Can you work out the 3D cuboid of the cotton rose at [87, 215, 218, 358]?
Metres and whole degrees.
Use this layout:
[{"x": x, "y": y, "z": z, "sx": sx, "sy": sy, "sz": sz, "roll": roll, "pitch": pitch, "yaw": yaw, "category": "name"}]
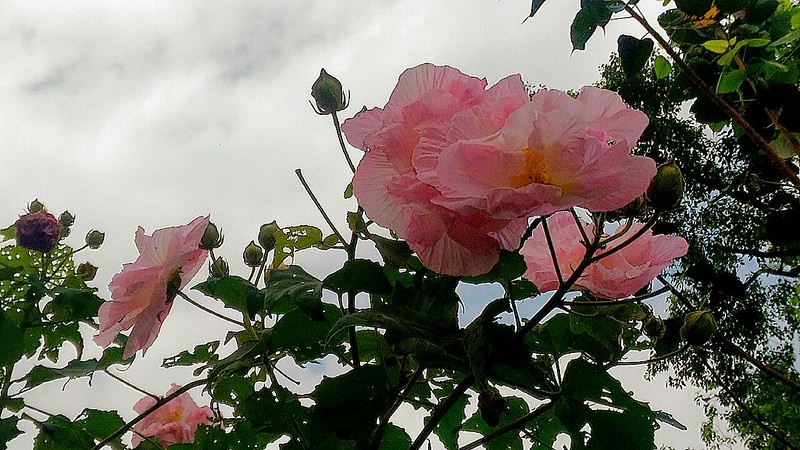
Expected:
[{"x": -0.801, "y": 0.123, "z": 2.672, "sx": 0.336, "sy": 0.330, "sz": 0.104, "roll": -3, "pitch": -57, "yaw": -31, "category": "cotton rose"}]
